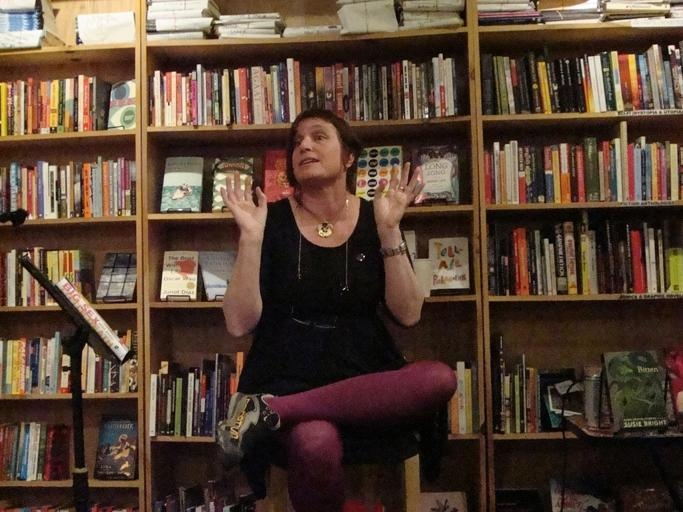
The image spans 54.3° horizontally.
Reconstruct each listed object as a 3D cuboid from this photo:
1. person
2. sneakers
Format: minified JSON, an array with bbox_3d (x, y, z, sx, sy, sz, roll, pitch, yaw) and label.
[{"bbox_3d":[-0.065,0.154,2.701,0.881,1.606,0.532,-2,-3,-9],"label":"person"},{"bbox_3d":[-0.351,0.645,2.549,0.314,0.163,0.133,-48,13,29],"label":"sneakers"}]
